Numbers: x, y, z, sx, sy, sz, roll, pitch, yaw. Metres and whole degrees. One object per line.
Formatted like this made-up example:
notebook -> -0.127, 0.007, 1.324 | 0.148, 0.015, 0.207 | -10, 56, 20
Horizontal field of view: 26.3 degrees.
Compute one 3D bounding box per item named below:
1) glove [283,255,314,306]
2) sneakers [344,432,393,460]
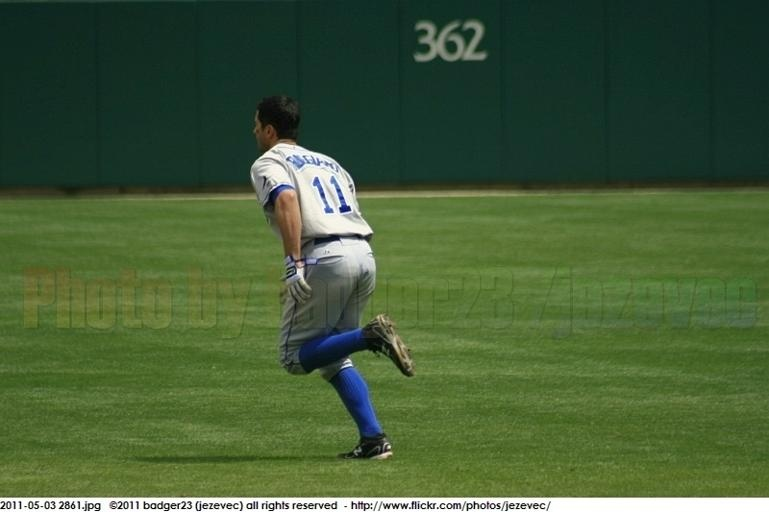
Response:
glove -> -0.982, 0.262, 18.896 | 0.306, 0.559, 0.138 | -5, 4, 1
sneakers -> -0.143, 2.188, 18.874 | 0.690, 0.274, 0.225 | -1, -5, 5
